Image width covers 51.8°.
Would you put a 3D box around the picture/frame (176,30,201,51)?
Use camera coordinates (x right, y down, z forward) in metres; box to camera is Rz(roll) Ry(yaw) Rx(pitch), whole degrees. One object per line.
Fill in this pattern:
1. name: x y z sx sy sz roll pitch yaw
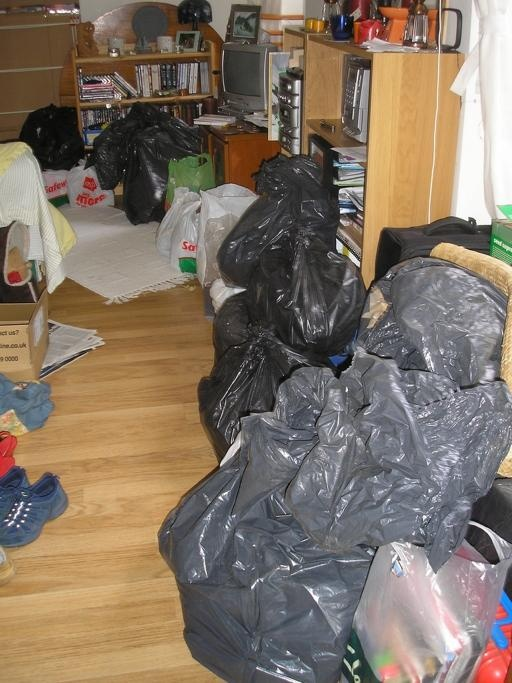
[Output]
1. picture/frame: -0.563 -2.528 4.423 0.211 0.199 0.109 2 1 15

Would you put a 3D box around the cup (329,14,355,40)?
1. cup: 0.339 -1.256 2.105 0.084 0.082 0.097 -3 49 0

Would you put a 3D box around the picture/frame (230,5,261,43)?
1. picture/frame: -0.063 -2.155 3.567 0.021 0.266 0.271 -12 33 -44

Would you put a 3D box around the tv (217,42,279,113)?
1. tv: -0.057 -1.807 3.588 0.112 0.449 0.618 -14 24 -27

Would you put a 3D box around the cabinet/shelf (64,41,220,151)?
1. cabinet/shelf: -0.920 -1.992 4.253 1.195 0.860 0.375 -3 15 -11
